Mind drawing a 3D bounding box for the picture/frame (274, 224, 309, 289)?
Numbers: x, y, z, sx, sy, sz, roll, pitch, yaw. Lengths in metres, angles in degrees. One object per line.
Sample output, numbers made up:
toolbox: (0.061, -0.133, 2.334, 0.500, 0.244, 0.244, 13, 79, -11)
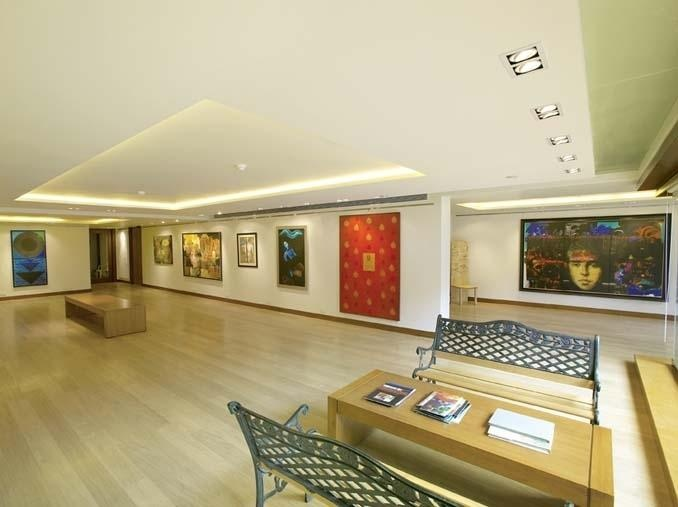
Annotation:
picture/frame: (-1.184, 0.102, 9.866, 1.074, 1.496, 0.040, -1, 0, 42)

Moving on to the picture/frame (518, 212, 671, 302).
picture/frame: (6.066, 0.079, 9.401, 2.297, 1.437, 0.086, 3, 2, 39)

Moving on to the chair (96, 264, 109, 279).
chair: (-10.123, 0.796, 17.208, 0.441, 0.579, 0.597, 0, -2, -28)

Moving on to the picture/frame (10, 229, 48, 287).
picture/frame: (-9.981, 0.167, 12.991, 0.130, 1.895, 1.110, 3, 13, 28)

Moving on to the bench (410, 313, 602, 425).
bench: (1.823, 1.373, 4.541, 0.608, 0.932, 1.924, -22, 15, -40)

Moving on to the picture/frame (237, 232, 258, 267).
picture/frame: (-2.487, -0.112, 10.979, 0.916, 1.052, 0.046, 7, 11, 41)
